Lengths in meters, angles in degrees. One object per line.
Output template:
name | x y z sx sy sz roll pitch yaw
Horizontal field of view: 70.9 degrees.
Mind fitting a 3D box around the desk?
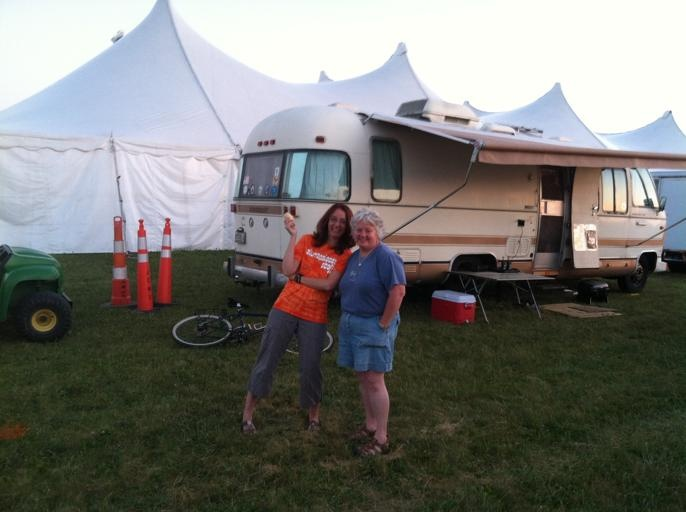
desk | 2.762 0.463 8.874 1.276 0.702 1.314 0 1 -16

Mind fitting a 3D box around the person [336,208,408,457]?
person | 0.235 0.653 4.260 0.551 2.099 0.510 2 10 -1

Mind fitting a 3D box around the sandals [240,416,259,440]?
sandals | -0.862 1.579 4.498 0.079 0.094 0.229 2 -1 8

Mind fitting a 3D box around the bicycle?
bicycle | -1.225 1.006 6.645 1.875 1.015 1.195 0 4 14

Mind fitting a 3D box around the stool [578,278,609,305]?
stool | 5.199 0.718 10.145 0.419 0.480 0.653 4 2 5

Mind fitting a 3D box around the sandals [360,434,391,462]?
sandals | 0.289 1.723 4.254 0.238 0.112 0.130 6 -8 -21

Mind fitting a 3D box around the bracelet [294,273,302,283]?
bracelet | -0.406 0.201 4.382 0.055 0.074 0.077 7 19 -3
